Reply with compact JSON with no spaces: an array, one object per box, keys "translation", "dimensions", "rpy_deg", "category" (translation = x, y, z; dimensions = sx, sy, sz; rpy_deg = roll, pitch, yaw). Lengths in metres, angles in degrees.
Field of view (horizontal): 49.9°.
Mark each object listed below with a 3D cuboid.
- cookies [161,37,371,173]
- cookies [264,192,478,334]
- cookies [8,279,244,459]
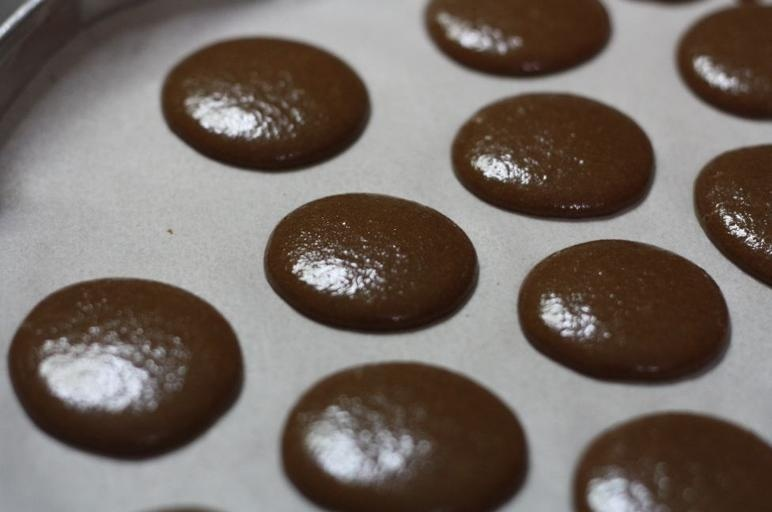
[{"translation":[-0.117,-0.158,0.843],"dimensions":[0.159,0.028,0.146],"rpy_deg":[-8,71,-13],"category":"cookies"},{"translation":[-0.014,0.008,0.808],"dimensions":[0.209,0.061,0.128],"rpy_deg":[1,63,7],"category":"cookies"},{"translation":[-0.241,0.104,0.772],"dimensions":[0.211,0.063,0.157],"rpy_deg":[9,64,11],"category":"cookies"}]
